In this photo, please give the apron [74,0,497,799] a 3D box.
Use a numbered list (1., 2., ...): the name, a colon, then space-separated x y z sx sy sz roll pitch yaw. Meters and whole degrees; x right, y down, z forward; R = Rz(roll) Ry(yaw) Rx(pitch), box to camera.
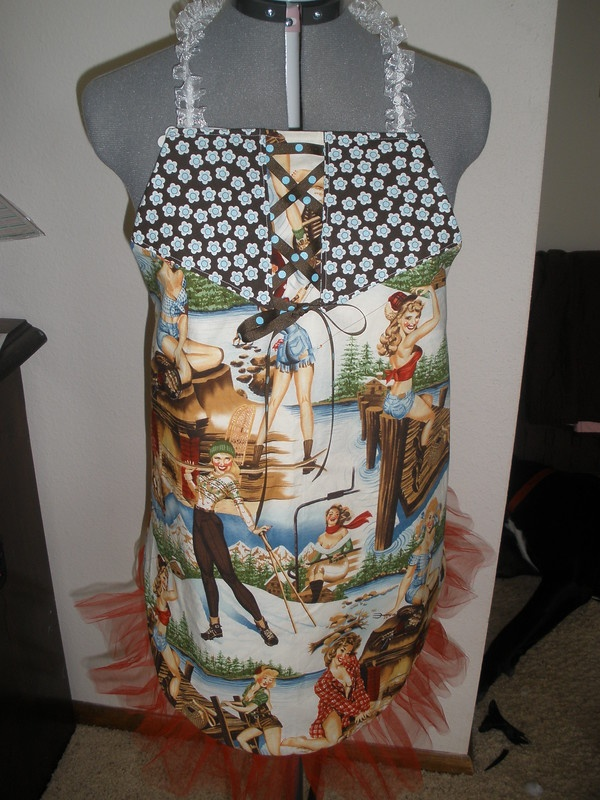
1. apron: -0.032 0.166 1.299 0.703 1.477 0.402 -1 22 5
